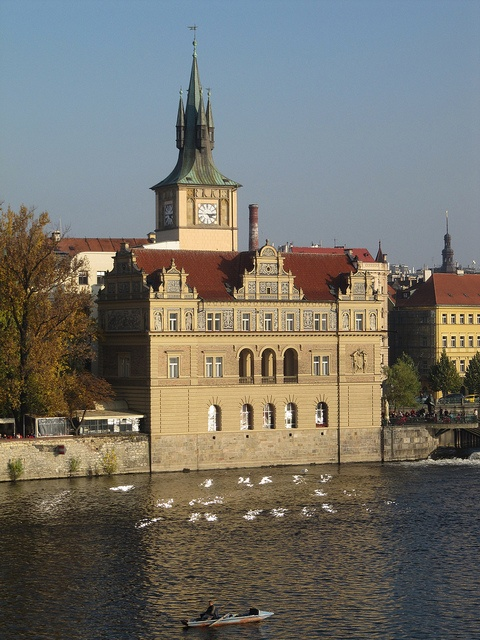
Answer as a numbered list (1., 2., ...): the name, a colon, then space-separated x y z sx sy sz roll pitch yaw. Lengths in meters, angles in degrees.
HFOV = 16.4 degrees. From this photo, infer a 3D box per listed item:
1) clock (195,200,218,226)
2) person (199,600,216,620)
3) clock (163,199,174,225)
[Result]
1. clock: -2.684 -8.392 129.469 1.464 2.063 0.250 -1 6 -8
2. person: -1.325 12.635 72.327 0.750 0.714 1.787 1 6 -1
3. clock: -5.550 -8.563 130.922 0.131 2.225 1.691 -1 5 -14
